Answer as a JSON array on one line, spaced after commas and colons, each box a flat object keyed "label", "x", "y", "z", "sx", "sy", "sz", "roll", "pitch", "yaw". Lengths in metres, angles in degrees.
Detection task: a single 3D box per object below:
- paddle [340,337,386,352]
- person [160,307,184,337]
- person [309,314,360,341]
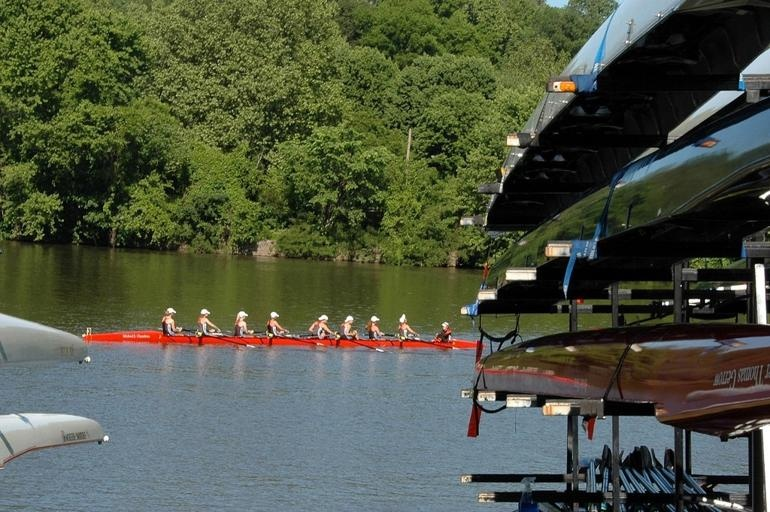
[{"label": "paddle", "x": -0.744, "y": 3.828, "z": 63.747, "sx": 3.025, "sy": 0.429, "sz": 0.667, "roll": 1, "pitch": 10, "yaw": -1}, {"label": "person", "x": -9.139, "y": 2.740, "z": 62.434, "sx": 0.833, "sy": 1.193, "sz": 0.791, "roll": -4, "pitch": 11, "yaw": -38}, {"label": "person", "x": -2.305, "y": 3.132, "z": 63.747, "sx": 1.675, "sy": 0.716, "sz": 1.213, "roll": -1, "pitch": 5, "yaw": -13}]
